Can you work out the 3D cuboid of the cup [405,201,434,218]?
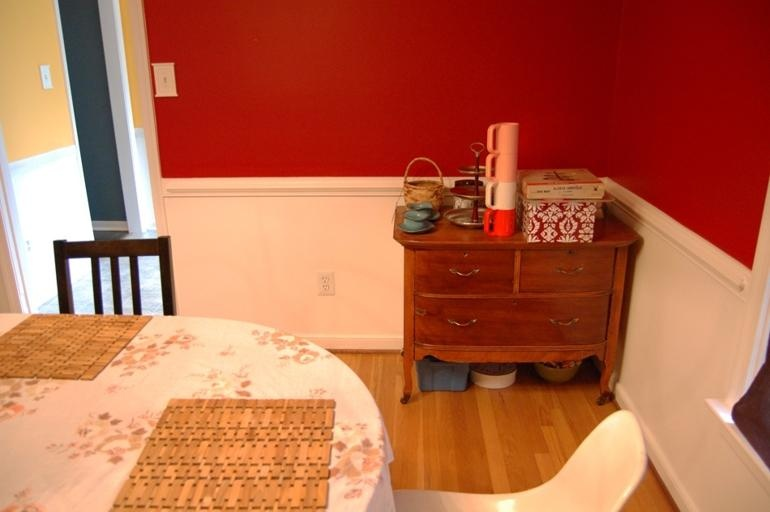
[{"bbox_3d":[0.180,-0.228,2.872,0.120,0.059,0.101,-8,28,-19],"label":"cup"}]

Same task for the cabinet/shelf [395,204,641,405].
[{"bbox_3d":[0.661,0.256,3.172,1.253,0.880,0.726,-1,16,3],"label":"cabinet/shelf"}]

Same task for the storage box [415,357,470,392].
[{"bbox_3d":[0.328,0.679,3.222,0.245,0.152,0.229,2,16,2],"label":"storage box"}]

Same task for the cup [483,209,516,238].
[{"bbox_3d":[0.567,-0.163,2.776,0.181,0.158,0.104,-5,20,-9],"label":"cup"}]

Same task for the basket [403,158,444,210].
[{"bbox_3d":[0.214,-0.397,3.101,0.256,0.300,0.215,7,35,14],"label":"basket"}]

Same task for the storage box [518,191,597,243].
[{"bbox_3d":[0.878,-0.190,2.828,0.430,0.178,0.408,5,10,10],"label":"storage box"}]
